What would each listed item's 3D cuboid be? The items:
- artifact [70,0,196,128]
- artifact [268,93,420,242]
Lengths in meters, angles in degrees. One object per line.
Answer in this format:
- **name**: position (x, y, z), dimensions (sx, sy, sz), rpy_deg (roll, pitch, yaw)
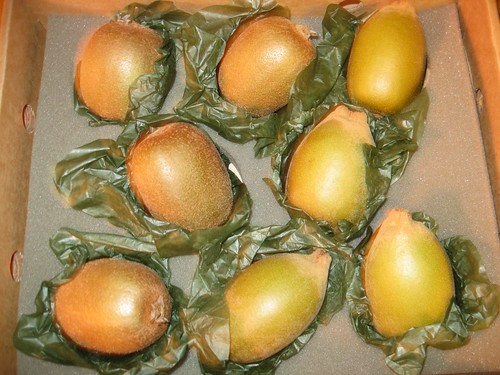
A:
- **artifact**: position (-0.265, -0.263, 1.284), dimensions (0.199, 0.184, 0.330), rpy_deg (4, 68, 38)
- **artifact**: position (0.219, -0.045, 1.239), dimensions (0.240, 0.181, 0.443), rpy_deg (19, 61, 28)
